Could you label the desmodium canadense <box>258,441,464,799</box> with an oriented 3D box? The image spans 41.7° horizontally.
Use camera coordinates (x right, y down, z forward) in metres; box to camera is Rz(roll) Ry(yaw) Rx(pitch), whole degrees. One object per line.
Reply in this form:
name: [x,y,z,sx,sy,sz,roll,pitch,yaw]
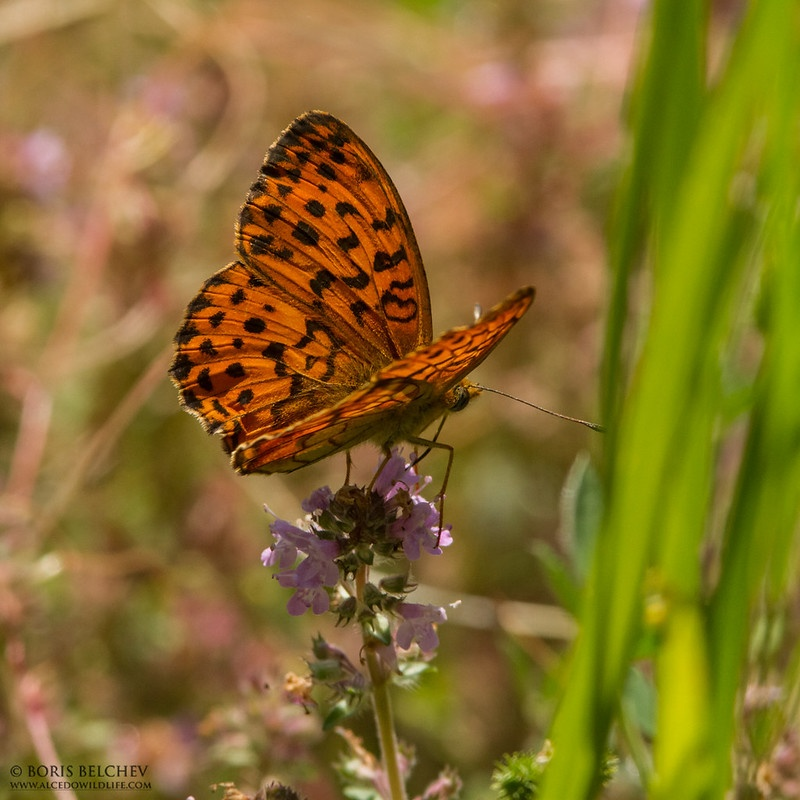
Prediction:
desmodium canadense: [-0.121,0.700,3.395,0.613,1.149,0.678,-4,-21,2]
